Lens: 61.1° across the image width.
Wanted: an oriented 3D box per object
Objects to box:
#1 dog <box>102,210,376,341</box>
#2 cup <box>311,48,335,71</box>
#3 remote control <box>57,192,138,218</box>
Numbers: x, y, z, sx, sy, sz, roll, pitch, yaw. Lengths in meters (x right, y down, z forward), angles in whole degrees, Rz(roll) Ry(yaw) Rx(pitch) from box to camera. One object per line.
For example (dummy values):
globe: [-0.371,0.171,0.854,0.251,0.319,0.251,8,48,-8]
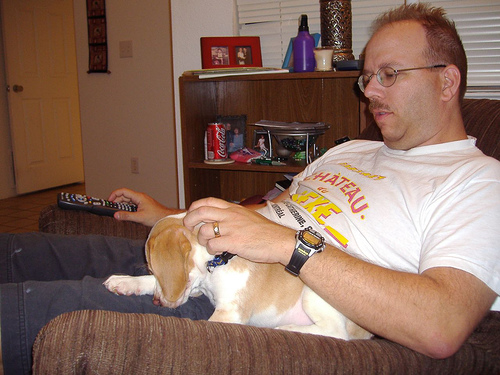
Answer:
dog: [-0.047,0.271,1.204,0.602,0.203,0.375,15,0,-12]
cup: [0.387,-0.664,2.254,0.111,0.102,0.116,3,8,0]
remote control: [-0.624,0.083,1.785,0.344,0.057,0.100,16,13,-37]
